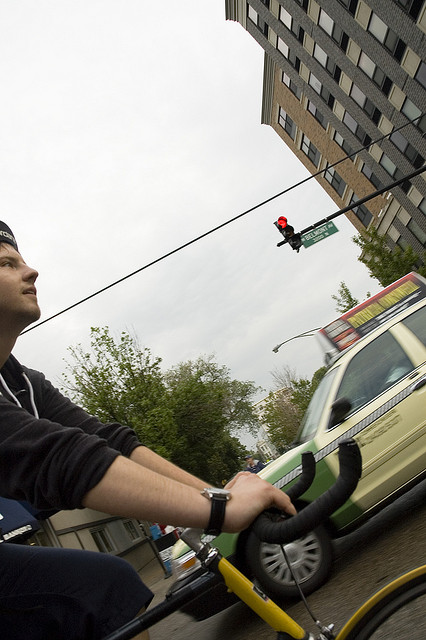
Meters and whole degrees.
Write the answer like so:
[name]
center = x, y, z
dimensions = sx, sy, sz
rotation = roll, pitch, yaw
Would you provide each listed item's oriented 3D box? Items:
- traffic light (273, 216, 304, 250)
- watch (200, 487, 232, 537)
[traffic light]
center = 1.988, -2.280, 11.953
dimensions = 0.352, 0.844, 0.637
rotation = -42, -19, 13
[watch]
center = 0.010, 0.371, 0.900
dimensions = 0.060, 0.089, 0.088
rotation = 5, -7, 4
